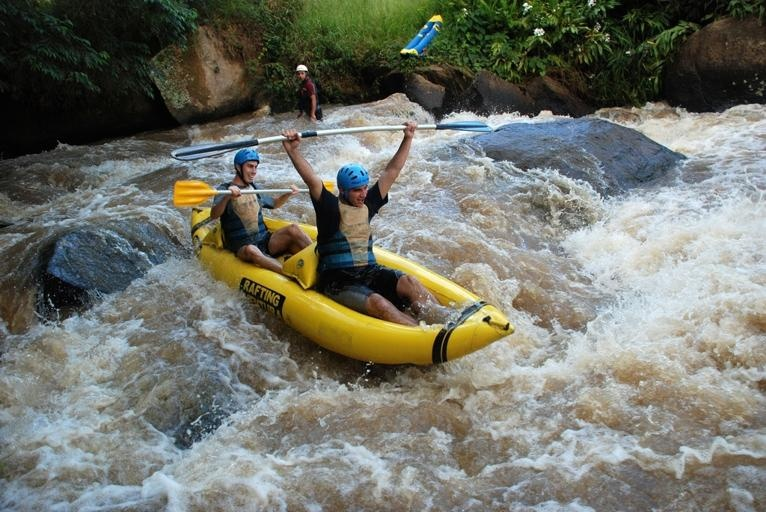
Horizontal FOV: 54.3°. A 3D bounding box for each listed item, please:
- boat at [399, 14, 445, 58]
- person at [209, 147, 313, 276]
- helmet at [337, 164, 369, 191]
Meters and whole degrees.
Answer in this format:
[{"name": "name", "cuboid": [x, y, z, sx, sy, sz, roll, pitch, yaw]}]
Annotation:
[{"name": "boat", "cuboid": [0.814, -4.356, 14.920, 0.437, 0.282, 1.674, 5, 47, 36]}, {"name": "person", "cuboid": [-1.359, -0.575, 9.134, 1.052, 1.405, 1.708, -7, 16, -42]}, {"name": "helmet", "cuboid": [-0.346, -0.913, 8.521, 0.330, 0.315, 0.257, -17, 26, 7]}]
